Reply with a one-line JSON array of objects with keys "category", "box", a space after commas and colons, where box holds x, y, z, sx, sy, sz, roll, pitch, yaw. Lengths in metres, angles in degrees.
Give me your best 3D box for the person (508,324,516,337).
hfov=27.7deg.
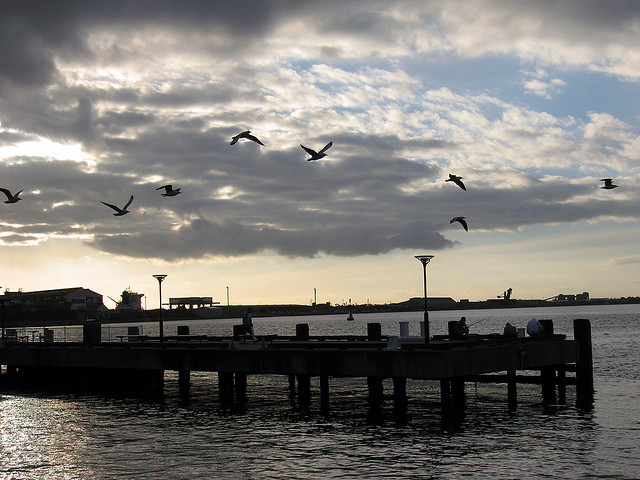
[{"category": "person", "box": [11.687, 5.359, 78.778, 0.442, 0.795, 1.140, -3, -7, 7]}]
